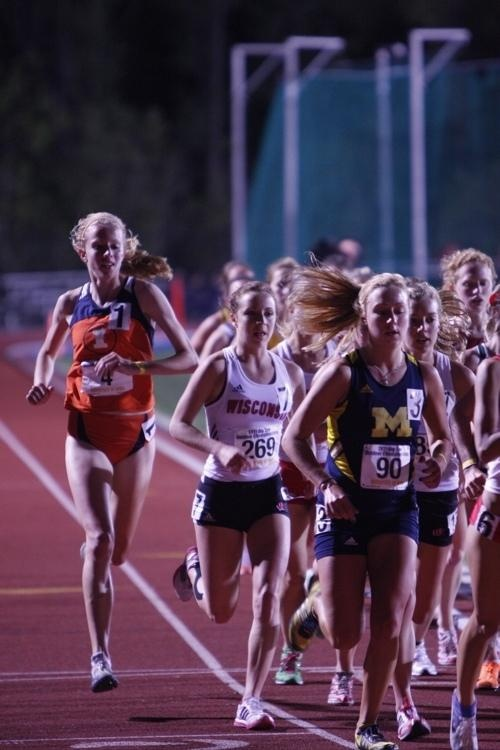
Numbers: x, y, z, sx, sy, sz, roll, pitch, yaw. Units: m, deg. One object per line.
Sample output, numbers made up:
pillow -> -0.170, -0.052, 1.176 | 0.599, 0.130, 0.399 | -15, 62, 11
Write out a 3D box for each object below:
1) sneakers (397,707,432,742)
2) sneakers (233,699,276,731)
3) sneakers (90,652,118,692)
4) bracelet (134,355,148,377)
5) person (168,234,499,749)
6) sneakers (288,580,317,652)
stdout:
sneakers -> 0.564, 1.190, 3.275 | 0.070, 0.065, 0.154 | -4, -18, -9
sneakers -> 0.013, 1.191, 3.367 | 0.079, 0.075, 0.166 | 7, -17, -25
sneakers -> -0.574, 1.159, 3.714 | 0.088, 0.141, 0.185 | 1, -2, -12
bracelet -> -0.476, -0.040, 4.130 | 0.061, 0.054, 0.057 | -2, 10, -11
person -> 0.363, 0.378, 3.391 | 0.633, 1.604, 0.974 | 1, -2, -32
sneakers -> 0.217, 1.000, 4.089 | 0.154, 0.317, 0.119 | -14, -31, 21
